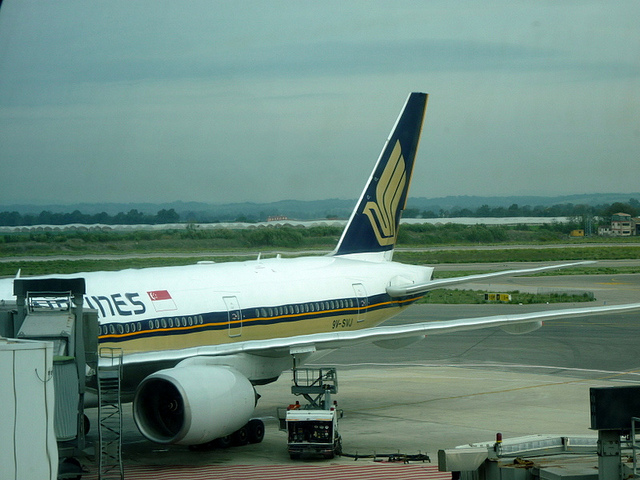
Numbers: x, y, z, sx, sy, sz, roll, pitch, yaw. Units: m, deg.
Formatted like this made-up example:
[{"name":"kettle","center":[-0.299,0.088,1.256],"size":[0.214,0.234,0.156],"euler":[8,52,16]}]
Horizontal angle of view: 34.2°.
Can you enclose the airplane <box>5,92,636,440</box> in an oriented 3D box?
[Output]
[{"name":"airplane","center":[-0.967,1.928,28.505],"size":[12.124,4.544,12.363],"euler":[0,1,42]}]
